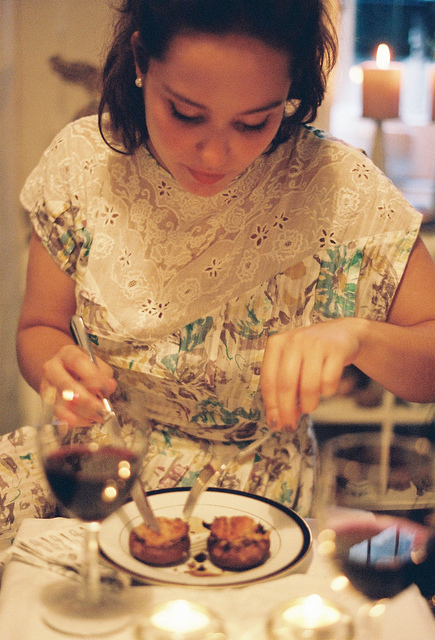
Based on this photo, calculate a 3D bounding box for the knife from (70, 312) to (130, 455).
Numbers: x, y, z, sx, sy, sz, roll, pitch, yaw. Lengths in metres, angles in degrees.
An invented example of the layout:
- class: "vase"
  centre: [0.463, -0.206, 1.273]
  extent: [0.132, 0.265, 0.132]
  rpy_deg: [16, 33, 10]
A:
- class: "knife"
  centre: [-0.166, 0.084, 0.875]
  extent: [0.029, 0.021, 0.229]
  rpy_deg: [-24, 53, 2]

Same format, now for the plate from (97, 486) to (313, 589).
- class: "plate"
  centre: [0.010, 0.255, 0.660]
  extent: [0.235, 0.234, 0.030]
  rpy_deg: [-28, 58, -6]

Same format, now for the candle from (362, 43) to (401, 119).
- class: "candle"
  centre: [0.439, -0.640, 1.658]
  extent: [0.098, 0.169, 0.111]
  rpy_deg: [3, 10, 12]

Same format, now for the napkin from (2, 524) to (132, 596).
- class: "napkin"
  centre: [-0.161, 0.247, 0.661]
  extent: [0.066, 0.010, 0.072]
  rpy_deg: [20, 9, 41]

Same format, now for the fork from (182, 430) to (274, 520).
- class: "fork"
  centre: [0.015, 0.232, 0.915]
  extent: [0.030, 0.039, 0.277]
  rpy_deg: [10, 33, 24]

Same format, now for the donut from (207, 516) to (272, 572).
- class: "donut"
  centre: [0.024, 0.259, 0.722]
  extent: [0.077, 0.026, 0.103]
  rpy_deg: [2, 9, 10]
